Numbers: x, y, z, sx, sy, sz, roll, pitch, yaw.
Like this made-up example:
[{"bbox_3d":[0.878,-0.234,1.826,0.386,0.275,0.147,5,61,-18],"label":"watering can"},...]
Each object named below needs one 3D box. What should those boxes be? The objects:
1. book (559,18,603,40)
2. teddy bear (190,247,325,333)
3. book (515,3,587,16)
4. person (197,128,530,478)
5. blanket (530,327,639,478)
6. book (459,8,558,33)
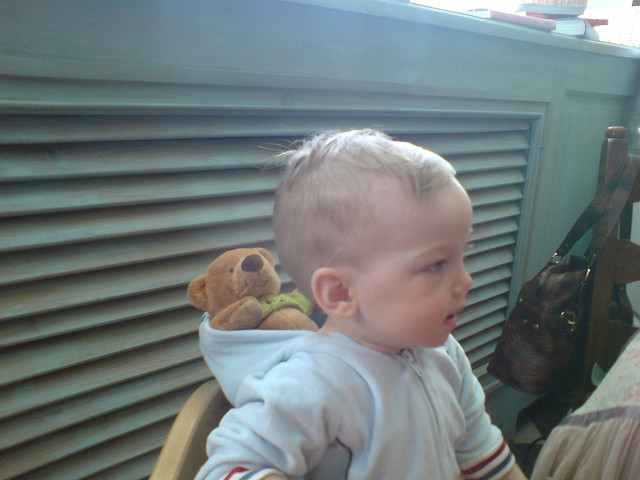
[{"bbox_3d":[1.089,-0.882,1.848,0.183,0.039,0.169,6,13,18],"label":"book"},{"bbox_3d":[-0.124,0.105,0.877,0.162,0.116,0.168,-24,67,-36],"label":"teddy bear"},{"bbox_3d":[1.005,-0.984,1.851,0.146,0.030,0.136,0,10,1],"label":"book"},{"bbox_3d":[0.081,0.167,0.834,0.654,0.728,0.289,-5,16,-18],"label":"person"},{"bbox_3d":[0.636,0.400,0.992,0.185,0.312,0.323,12,20,38],"label":"blanket"},{"bbox_3d":[0.732,-0.807,1.610,0.560,0.053,0.088,-9,17,-31],"label":"book"}]
